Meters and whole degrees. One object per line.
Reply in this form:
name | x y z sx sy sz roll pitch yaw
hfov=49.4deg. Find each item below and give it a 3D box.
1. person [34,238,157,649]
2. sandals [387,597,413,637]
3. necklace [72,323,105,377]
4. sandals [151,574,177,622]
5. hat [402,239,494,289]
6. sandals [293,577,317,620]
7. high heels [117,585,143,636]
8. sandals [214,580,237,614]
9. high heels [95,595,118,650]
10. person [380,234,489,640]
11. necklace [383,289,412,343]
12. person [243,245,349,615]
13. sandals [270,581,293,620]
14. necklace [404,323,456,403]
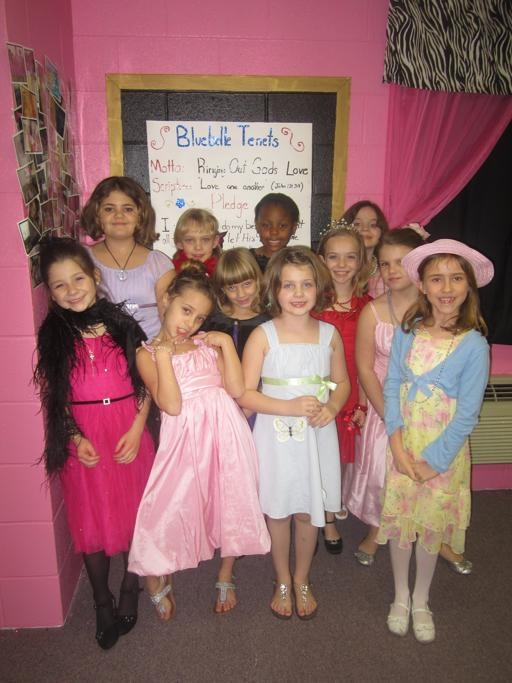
person | -0.545 0.343 1.907 0.358 1.354 0.404 -2 15 -7
sandals | 0.499 0.974 1.977 0.053 0.038 0.130 0 18 20
necklace | -0.559 0.038 1.891 0.140 0.171 0.078 -6 16 -22
sandals | -0.341 0.932 2.062 0.063 0.172 0.062 -10 5 -12
hat | 0.661 -0.289 1.977 0.322 0.101 0.349 7 -16 9
sandals | 0.182 0.942 2.033 0.065 0.060 0.140 -2 47 -1
high heels | -0.458 0.963 2.001 0.054 0.062 0.157 -1 51 -5
sandals | -0.117 0.959 2.087 0.058 0.048 0.110 5 62 0
high heels | -0.517 0.978 1.952 0.057 0.183 0.073 -9 -24 -5
person | 0.611 0.339 1.957 0.337 1.362 0.445 4 15 13
necklace | 0.551 -0.116 2.243 0.099 0.170 0.042 -9 -19 32
person | 0.146 0.316 2.074 0.363 1.317 0.462 7 16 24
sandals | 0.085 0.945 1.994 0.054 0.060 0.146 -1 -9 4
necklace | 0.586 0.091 1.906 0.160 0.223 0.090 14 20 43
